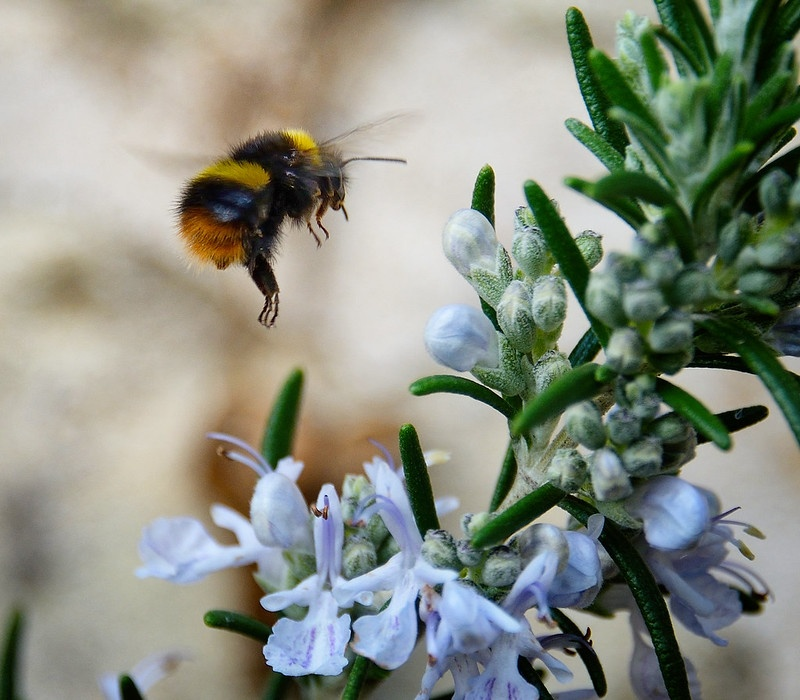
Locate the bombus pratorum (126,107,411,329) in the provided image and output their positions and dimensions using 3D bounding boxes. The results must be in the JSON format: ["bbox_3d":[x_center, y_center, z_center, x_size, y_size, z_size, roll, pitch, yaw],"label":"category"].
[{"bbox_3d":[-0.305,-0.216,2.235,0.373,0.480,0.489,-3,-4,41],"label":"bombus pratorum"}]
